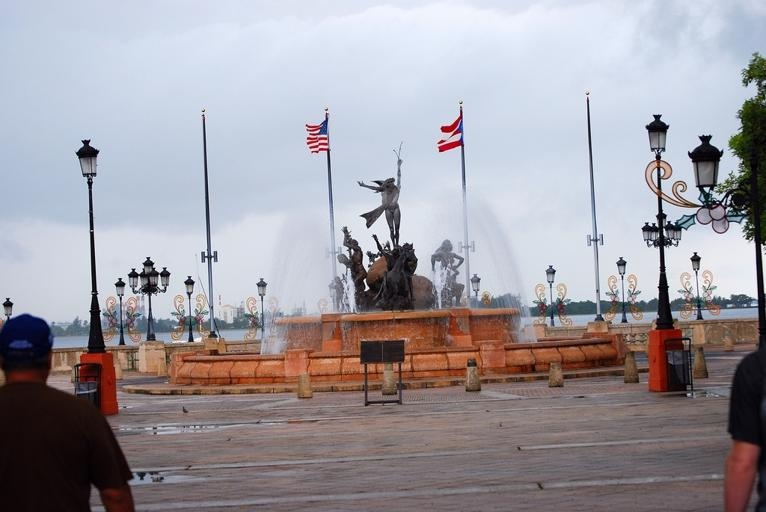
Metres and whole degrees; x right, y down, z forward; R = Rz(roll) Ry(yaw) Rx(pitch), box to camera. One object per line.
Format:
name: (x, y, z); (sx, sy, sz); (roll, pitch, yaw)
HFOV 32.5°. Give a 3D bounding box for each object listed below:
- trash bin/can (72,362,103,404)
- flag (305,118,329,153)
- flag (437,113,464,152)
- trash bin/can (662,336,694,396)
trash bin/can: (-7.315, 3.278, 32.909); (0.544, 1.177, 0.405); (-2, 2, -11)
flag: (-2.853, -5.301, 57.748); (0.795, 1.522, 1.583); (-4, -4, 3)
flag: (2.972, -5.593, 58.693); (1.223, 1.762, 0.126); (-15, 38, -11)
trash bin/can: (7.772, 2.825, 34.496); (0.681, 1.294, 0.750); (-8, -10, 14)
